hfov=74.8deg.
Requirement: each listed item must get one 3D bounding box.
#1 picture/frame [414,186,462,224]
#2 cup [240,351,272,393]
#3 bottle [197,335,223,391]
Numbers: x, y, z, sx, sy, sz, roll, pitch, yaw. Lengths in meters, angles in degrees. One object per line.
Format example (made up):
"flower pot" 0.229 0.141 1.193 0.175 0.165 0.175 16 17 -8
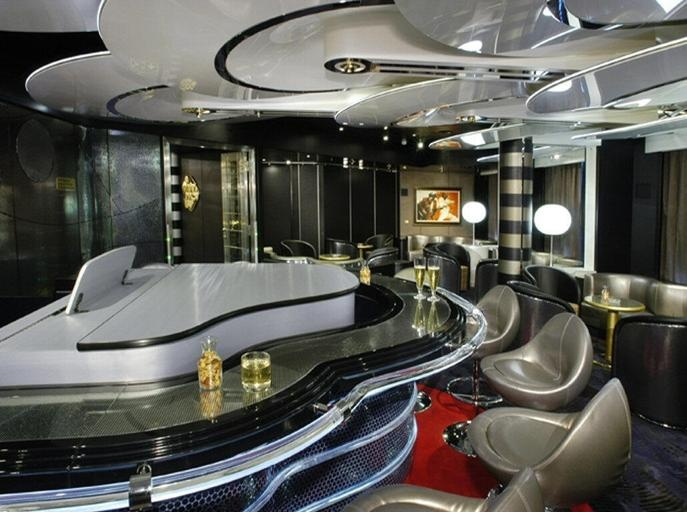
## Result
"picture/frame" 2.738 -1.522 13.268 1.105 0.841 0.076 0 -2 -6
"cup" -0.408 0.551 2.136 0.146 0.162 0.150 0 -5 0
"bottle" -0.635 0.487 2.127 0.117 0.249 0.166 -5 7 -18
